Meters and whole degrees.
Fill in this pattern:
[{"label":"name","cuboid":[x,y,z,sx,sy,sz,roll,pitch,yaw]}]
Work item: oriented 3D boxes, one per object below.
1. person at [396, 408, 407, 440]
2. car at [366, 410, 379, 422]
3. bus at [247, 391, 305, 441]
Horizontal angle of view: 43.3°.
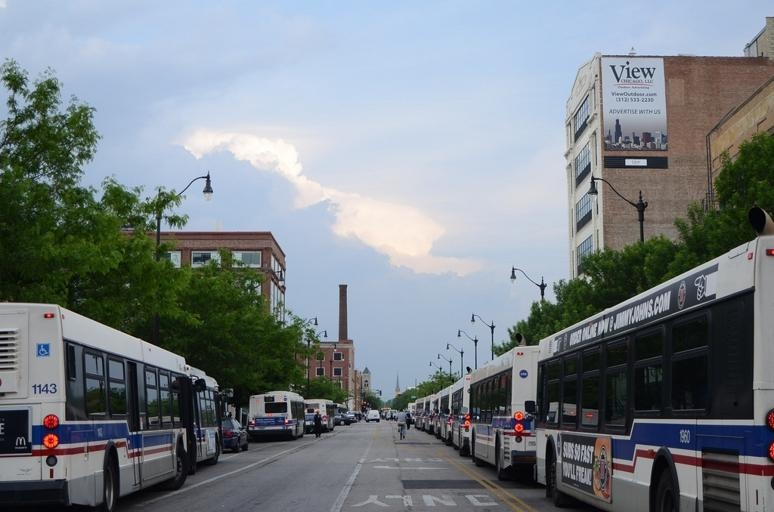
[{"label":"person","cuboid":[0.907,10.892,63.354,0.810,1.272,2.029,1,-4,2]},{"label":"car","cuboid":[-2.302,24.085,144.309,1.616,1.524,2.858,0,0,-1]},{"label":"bus","cuboid":[-7.026,10.136,62.697,1.783,2.481,5.619,0,-5,5]}]
